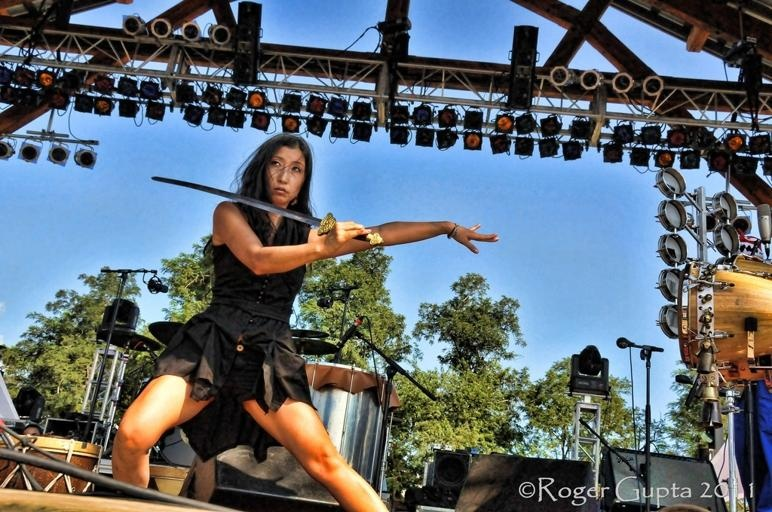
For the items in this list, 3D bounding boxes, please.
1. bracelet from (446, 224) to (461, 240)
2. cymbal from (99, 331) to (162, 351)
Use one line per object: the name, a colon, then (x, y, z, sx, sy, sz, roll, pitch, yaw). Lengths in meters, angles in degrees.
bracelet: (0.580, -0.184, 5.941, 0.043, 0.119, 0.108, 44, 4, 5)
cymbal: (-4.551, 1.625, 12.454, 0.748, 0.173, 0.723, 12, -3, -8)
